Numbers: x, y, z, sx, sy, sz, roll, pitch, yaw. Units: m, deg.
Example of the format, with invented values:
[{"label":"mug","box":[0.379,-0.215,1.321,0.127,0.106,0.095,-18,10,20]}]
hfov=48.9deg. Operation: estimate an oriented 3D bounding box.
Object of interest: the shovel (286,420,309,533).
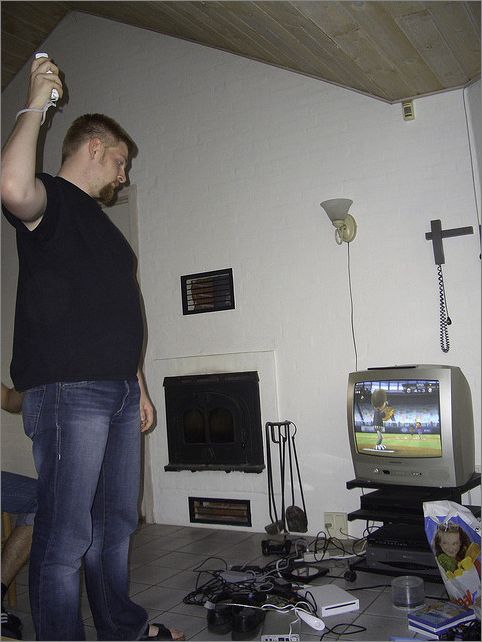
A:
[{"label":"shovel","box":[0.311,0.906,3.054,0.113,0.621,0.039,-4,-2,24]}]

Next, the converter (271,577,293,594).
[{"label":"converter","box":[0.158,1.058,2.121,0.063,0.037,0.101,2,-4,-31]}]

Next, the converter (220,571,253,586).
[{"label":"converter","box":[-0.022,1.107,2.287,0.081,0.023,0.063,1,-8,11]}]

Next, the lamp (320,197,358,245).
[{"label":"lamp","box":[0.553,-0.553,2.934,0.194,0.302,0.229,-1,11,42]}]

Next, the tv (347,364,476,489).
[{"label":"tv","box":[0.759,0.475,2.344,0.460,0.494,0.261,-7,-15,32]}]

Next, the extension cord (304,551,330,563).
[{"label":"extension cord","box":[0.363,1.143,2.559,0.075,0.038,0.057,-2,-3,4]}]

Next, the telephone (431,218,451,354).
[{"label":"telephone","box":[1.035,-0.205,2.738,0.049,0.426,0.050,1,-7,-16]}]

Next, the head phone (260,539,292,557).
[{"label":"head phone","box":[0.185,1.173,2.741,0.122,0.057,0.111,1,-5,-8]}]

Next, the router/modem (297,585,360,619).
[{"label":"router/modem","box":[0.325,1.071,2.050,0.198,0.052,0.281,-3,-12,-15]}]
